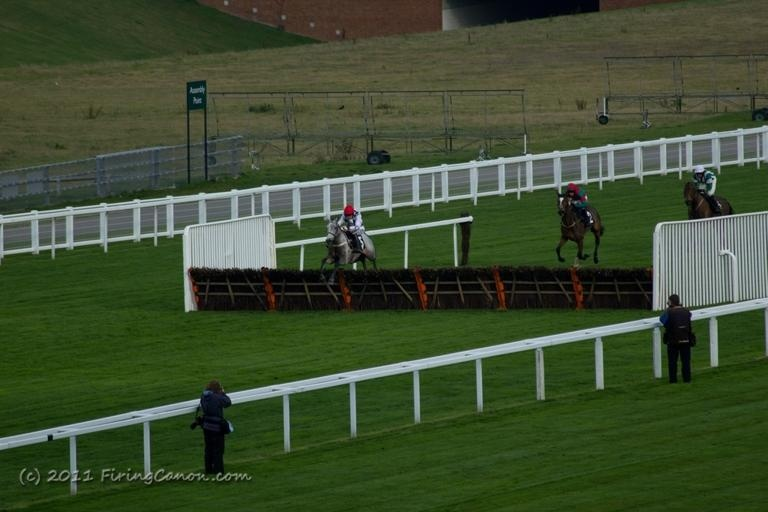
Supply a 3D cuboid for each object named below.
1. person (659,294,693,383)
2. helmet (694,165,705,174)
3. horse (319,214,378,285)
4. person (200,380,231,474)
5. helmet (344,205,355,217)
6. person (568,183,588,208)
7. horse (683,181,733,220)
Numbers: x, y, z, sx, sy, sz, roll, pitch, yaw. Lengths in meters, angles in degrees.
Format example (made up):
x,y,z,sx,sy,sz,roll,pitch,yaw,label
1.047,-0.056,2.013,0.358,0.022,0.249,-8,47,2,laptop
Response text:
x,y,z,sx,sy,sz,roll,pitch,yaw,label
7.351,2.048,46.284,0.833,2.208,0.679,-3,9,7,person
9.261,-2.626,54.204,0.284,0.180,0.372,-3,5,3,helmet
-1.048,-0.211,52.334,0.874,1.583,3.524,6,3,22,horse
-4.053,4.108,44.094,0.794,2.223,0.516,-4,9,2,person
-1.019,-1.350,51.532,0.285,0.316,0.187,-1,-33,3,helmet
5.562,-1.812,53.424,0.554,0.696,0.498,-3,9,6,person
9.390,-1.666,53.556,1.300,1.149,1.268,-2,9,8,horse
